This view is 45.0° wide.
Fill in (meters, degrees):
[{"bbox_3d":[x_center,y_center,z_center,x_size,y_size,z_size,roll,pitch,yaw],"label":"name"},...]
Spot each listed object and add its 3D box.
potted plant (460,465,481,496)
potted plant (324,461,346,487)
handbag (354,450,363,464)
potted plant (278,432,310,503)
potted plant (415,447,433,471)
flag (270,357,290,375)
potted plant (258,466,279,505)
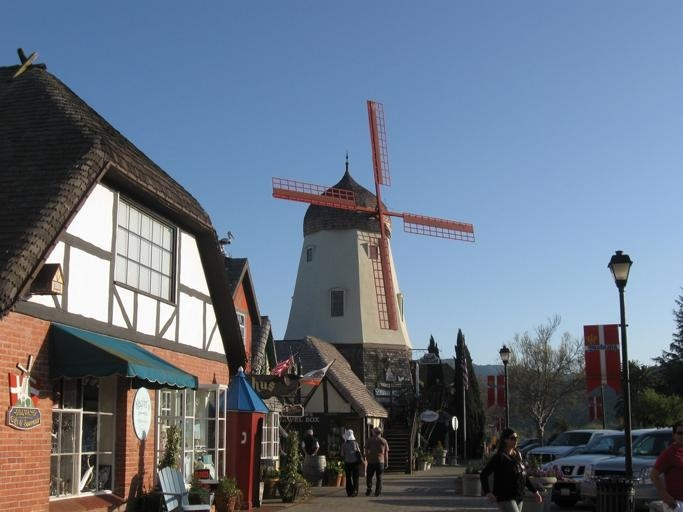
[{"bbox_3d":[3.792,6.545,23.737,0.562,0.808,0.551,-6,-27,21],"label":"potted plant"},{"bbox_3d":[-0.238,7.291,27.696,0.609,0.900,0.803,0,-10,3],"label":"potted plant"},{"bbox_3d":[0.498,5.920,24.321,0.144,0.402,0.299,-7,-18,16],"label":"handbag"},{"bbox_3d":[-1.355,5.906,22.959,0.788,1.950,1.808,-1,-18,-3],"label":"potted plant"},{"bbox_3d":[3.763,9.485,38.303,1.015,1.163,0.953,11,-12,-39],"label":"potted plant"},{"bbox_3d":[-1.998,3.704,27.377,0.501,0.245,0.824,-12,2,28],"label":"flag"},{"bbox_3d":[-2.069,6.323,22.717,0.747,0.659,0.809,0,-4,18],"label":"potted plant"}]
